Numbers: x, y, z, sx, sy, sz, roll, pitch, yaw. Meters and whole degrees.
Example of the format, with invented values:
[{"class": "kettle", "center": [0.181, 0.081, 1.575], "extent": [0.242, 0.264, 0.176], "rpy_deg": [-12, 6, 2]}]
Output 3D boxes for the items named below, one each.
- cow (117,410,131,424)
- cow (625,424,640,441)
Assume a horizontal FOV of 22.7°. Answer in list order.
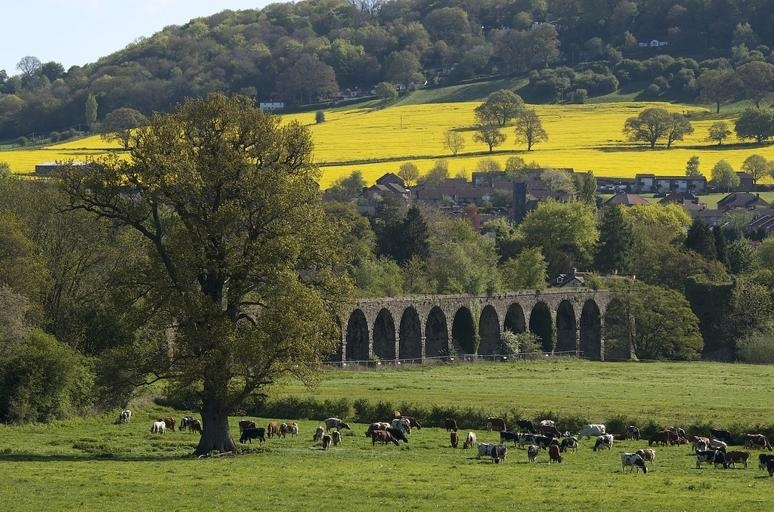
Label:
[{"class": "cow", "center": [-41.093, 24.646, 304.294], "extent": [1.886, 2.055, 1.401], "rpy_deg": [1, -8, -9]}, {"class": "cow", "center": [38.152, 26.748, 301.034], "extent": [1.995, 2.115, 0.809], "rpy_deg": [-1, -8, 6]}]
